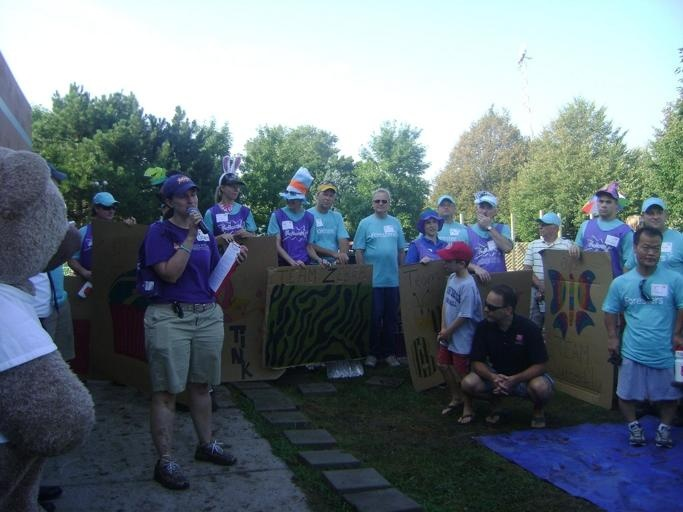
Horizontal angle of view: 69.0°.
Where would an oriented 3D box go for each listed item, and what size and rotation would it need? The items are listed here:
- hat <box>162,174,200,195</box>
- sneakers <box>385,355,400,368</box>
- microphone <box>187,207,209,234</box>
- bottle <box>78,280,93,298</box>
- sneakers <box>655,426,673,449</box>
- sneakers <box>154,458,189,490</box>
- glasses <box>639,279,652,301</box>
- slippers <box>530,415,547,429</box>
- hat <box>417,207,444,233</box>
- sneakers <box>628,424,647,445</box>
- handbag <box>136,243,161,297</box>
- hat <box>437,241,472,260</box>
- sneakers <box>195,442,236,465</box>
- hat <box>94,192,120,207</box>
[{"bbox_3d":[-1.279,-0.555,3.952,0.237,0.140,0.185,-20,4,30],"label":"hat"},{"bbox_3d":[0.785,1.580,7.600,0.162,0.127,0.191,-7,21,-19],"label":"sneakers"},{"bbox_3d":[-1.162,-0.280,4.050,0.157,0.210,0.415,0,3,-14],"label":"microphone"},{"bbox_3d":[-2.993,0.377,5.797,0.160,0.229,0.068,47,10,37],"label":"bottle"},{"bbox_3d":[3.075,1.694,4.744,0.110,0.148,0.289,1,-4,14],"label":"sneakers"},{"bbox_3d":[-1.282,1.635,3.805,0.326,0.171,0.146,6,4,40],"label":"sneakers"},{"bbox_3d":[3.045,0.336,4.989,0.091,0.202,0.048,-9,-8,29],"label":"glasses"},{"bbox_3d":[2.060,1.717,5.189,0.093,0.052,0.136,-5,23,11],"label":"slippers"},{"bbox_3d":[1.245,-0.529,7.180,0.264,0.261,0.389,0,-11,1],"label":"hat"},{"bbox_3d":[2.807,1.684,4.723,0.099,0.159,0.303,-4,-10,12],"label":"sneakers"},{"bbox_3d":[-1.568,0.121,3.972,0.115,0.445,0.302,-2,3,-44],"label":"handbag"},{"bbox_3d":[1.309,-0.061,5.722,0.277,0.167,0.212,0,12,10],"label":"hat"},{"bbox_3d":[-1.054,1.653,4.247,0.333,0.178,0.168,7,2,14],"label":"sneakers"},{"bbox_3d":[-3.016,-0.692,6.226,0.279,0.171,0.225,0,5,6],"label":"hat"}]
